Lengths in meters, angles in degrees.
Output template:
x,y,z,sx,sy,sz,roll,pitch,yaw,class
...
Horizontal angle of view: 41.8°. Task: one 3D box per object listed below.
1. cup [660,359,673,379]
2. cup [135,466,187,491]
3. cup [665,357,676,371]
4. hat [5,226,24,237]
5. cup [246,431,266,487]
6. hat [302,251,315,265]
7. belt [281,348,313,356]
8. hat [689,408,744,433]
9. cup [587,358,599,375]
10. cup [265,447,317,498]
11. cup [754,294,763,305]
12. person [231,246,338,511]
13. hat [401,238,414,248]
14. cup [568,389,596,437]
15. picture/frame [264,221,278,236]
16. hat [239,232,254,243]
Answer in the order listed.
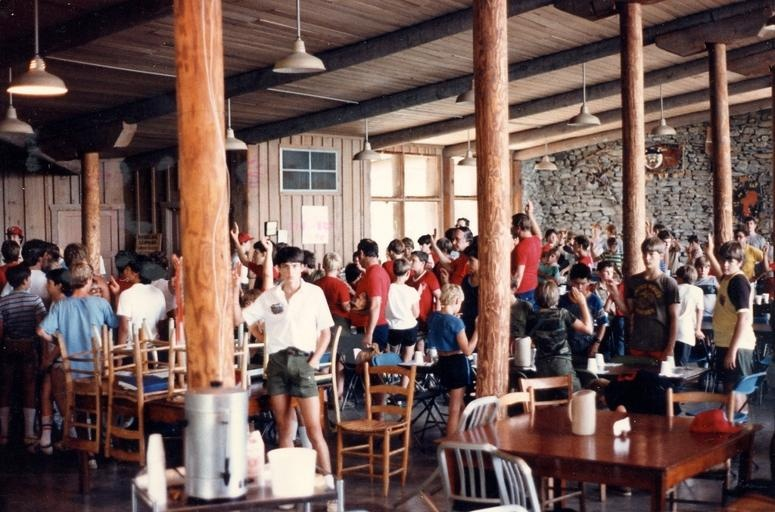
x,y,z,sx,sy,sz,roll,pitch,yaw,class
2.829,1.154,10.414,0.108,0.176,0.180,3,-12,3,cup
-1.759,1.681,7.581,0.143,0.149,0.542,-3,-1,39,cup
2.873,1.115,10.469,0.120,0.134,0.138,2,0,4,cup
-4.544,-0.313,12.340,0.125,0.092,0.172,0,10,-45,hat
-1.009,1.540,7.751,0.136,0.383,0.225,-2,-3,-7,cup
-1.038,0.024,13.143,0.165,0.172,0.170,0,-5,-5,hat
-0.884,0.916,9.633,0.306,0.096,0.076,-2,-3,-7,belt
2.735,1.436,8.632,0.338,0.168,0.207,8,-9,22,hat
2.139,1.162,10.674,0.144,0.147,0.144,-1,6,0,cup
-0.709,1.608,7.500,0.357,0.272,0.327,-1,-5,0,cup
4.959,0.594,13.699,0.146,0.110,0.118,-4,-7,23,cup
-0.924,0.968,9.612,0.781,2.088,0.373,-2,-3,-4,person
0.251,-0.142,14.207,0.126,0.158,0.158,-5,40,-1,hat
1.642,1.342,8.671,0.212,0.379,0.170,-2,-3,5,cup
-2.015,-0.475,17.349,0.109,0.283,0.319,1,0,28,picture/frame
-2.128,-0.275,15.110,0.171,0.176,0.119,-34,22,-1,hat
